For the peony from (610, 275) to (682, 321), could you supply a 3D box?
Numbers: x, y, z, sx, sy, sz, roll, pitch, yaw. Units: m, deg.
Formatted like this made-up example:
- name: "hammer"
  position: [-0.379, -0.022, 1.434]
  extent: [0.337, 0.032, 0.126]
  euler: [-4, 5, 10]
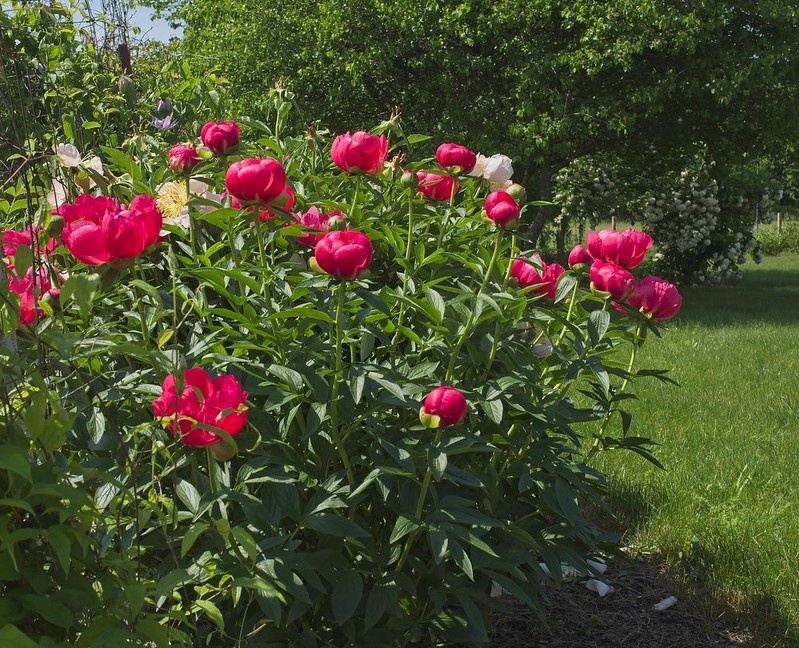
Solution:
- name: "peony"
  position: [0.648, -0.104, 2.163]
  extent: [0.098, 0.141, 0.120]
  euler: [-25, -39, 21]

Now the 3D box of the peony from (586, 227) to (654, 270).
- name: "peony"
  position: [0.569, -0.208, 2.131]
  extent: [0.124, 0.089, 0.131]
  euler: [3, 11, -19]

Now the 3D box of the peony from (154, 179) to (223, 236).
- name: "peony"
  position: [-0.535, -0.281, 2.163]
  extent: [0.194, 0.097, 0.181]
  euler: [2, 50, 2]

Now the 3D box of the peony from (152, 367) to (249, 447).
- name: "peony"
  position: [-0.385, 0.182, 1.579]
  extent: [0.172, 0.182, 0.183]
  euler: [-1, 15, -17]

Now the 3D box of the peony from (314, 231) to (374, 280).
- name: "peony"
  position: [-0.113, -0.144, 1.779]
  extent: [0.118, 0.081, 0.092]
  euler: [-15, 46, -31]

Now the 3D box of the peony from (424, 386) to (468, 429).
- name: "peony"
  position: [0.092, 0.186, 1.764]
  extent: [0.094, 0.106, 0.062]
  euler: [4, 15, 3]

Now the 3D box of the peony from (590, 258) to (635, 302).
- name: "peony"
  position: [0.526, -0.113, 2.086]
  extent: [0.110, 0.078, 0.088]
  euler: [22, 11, -45]

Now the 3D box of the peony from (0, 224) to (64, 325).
- name: "peony"
  position: [-0.751, -0.098, 1.677]
  extent: [0.107, 0.202, 0.210]
  euler: [-14, 7, -36]

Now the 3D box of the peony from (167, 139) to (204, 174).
- name: "peony"
  position: [-0.520, -0.421, 2.046]
  extent: [0.092, 0.072, 0.086]
  euler: [-11, -23, -30]

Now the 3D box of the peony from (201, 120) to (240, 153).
- name: "peony"
  position: [-0.436, -0.451, 1.988]
  extent: [0.086, 0.074, 0.131]
  euler: [0, 15, -14]

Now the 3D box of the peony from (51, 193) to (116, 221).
- name: "peony"
  position: [-0.689, -0.250, 1.793]
  extent: [0.110, 0.046, 0.102]
  euler: [-15, 19, -29]

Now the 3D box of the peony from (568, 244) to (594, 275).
- name: "peony"
  position: [0.470, -0.180, 2.197]
  extent: [0.074, 0.065, 0.080]
  euler: [17, 18, -2]

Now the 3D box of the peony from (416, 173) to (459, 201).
- name: "peony"
  position: [0.104, -0.373, 2.244]
  extent: [0.084, 0.063, 0.098]
  euler: [13, 11, 24]

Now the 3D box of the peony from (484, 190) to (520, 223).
- name: "peony"
  position: [0.245, -0.280, 1.978]
  extent: [0.083, 0.079, 0.095]
  euler: [4, 15, 4]

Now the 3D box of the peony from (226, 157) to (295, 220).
- name: "peony"
  position: [-0.311, -0.307, 1.798]
  extent: [0.137, 0.109, 0.086]
  euler: [-1, 15, -16]

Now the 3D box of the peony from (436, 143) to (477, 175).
- name: "peony"
  position: [0.151, -0.447, 2.182]
  extent: [0.080, 0.057, 0.091]
  euler: [17, 8, -30]

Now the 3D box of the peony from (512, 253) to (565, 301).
- name: "peony"
  position: [0.368, -0.121, 2.187]
  extent: [0.138, 0.084, 0.109]
  euler: [18, 15, -29]
